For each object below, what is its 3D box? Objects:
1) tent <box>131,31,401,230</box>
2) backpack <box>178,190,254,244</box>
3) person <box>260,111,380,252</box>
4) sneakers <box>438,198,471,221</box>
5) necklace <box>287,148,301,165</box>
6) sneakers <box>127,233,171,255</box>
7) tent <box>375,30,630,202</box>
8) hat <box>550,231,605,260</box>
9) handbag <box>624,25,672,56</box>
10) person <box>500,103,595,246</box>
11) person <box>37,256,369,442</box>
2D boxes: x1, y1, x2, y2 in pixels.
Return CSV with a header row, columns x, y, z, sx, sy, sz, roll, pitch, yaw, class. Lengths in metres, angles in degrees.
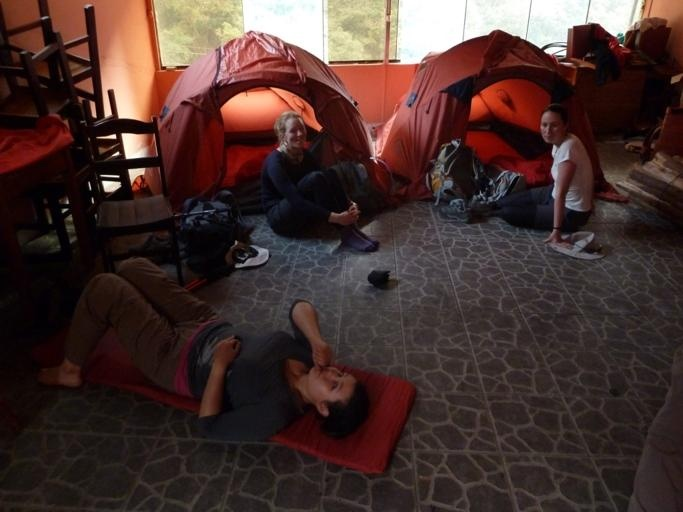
x,y,z,sx,sy,sz,roll,pitch,yaw,class
-0.779,-1.332,4.748,2.322,1.239,2.106,-6,43,-8,tent
-1.030,-0.256,3.553,0.509,0.378,0.647,-1,28,-2,backpack
-0.168,-0.614,3.857,1.158,1.189,0.730,13,40,15,person
1.057,-0.411,4.110,0.241,0.115,0.189,16,37,38,sneakers
-0.395,-0.818,3.610,0.091,0.124,0.046,0,59,-5,necklace
-1.440,-0.083,3.435,0.258,0.098,0.265,3,21,10,sneakers
1.349,-1.492,5.182,2.041,1.277,2.219,-11,42,-8,tent
1.889,-0.078,3.524,0.298,0.111,0.227,19,39,26,hat
4.415,-3.032,6.331,0.512,0.503,0.429,6,30,10,handbag
1.872,-0.709,3.992,0.789,1.132,1.213,-1,34,22,person
-0.714,0.591,2.398,1.570,0.706,0.832,21,39,3,person
